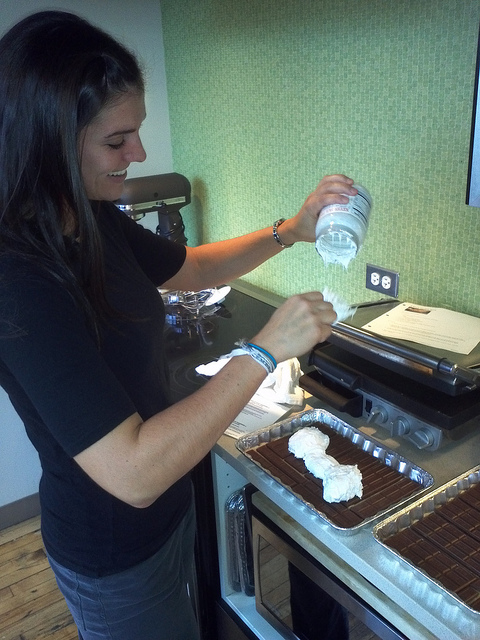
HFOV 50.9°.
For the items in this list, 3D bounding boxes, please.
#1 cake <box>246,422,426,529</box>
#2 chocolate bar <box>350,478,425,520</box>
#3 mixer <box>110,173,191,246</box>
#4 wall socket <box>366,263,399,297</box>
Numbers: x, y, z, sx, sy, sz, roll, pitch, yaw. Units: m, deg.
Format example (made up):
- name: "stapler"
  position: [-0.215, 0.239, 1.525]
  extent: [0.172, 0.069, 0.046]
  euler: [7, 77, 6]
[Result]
- name: "cake"
  position: [0.167, 0.270, 0.956]
  extent: [0.150, 0.030, 0.214]
  euler: [-10, 19, -30]
- name: "chocolate bar"
  position: [0.262, 0.310, 0.885]
  extent: [0.153, 0.011, 0.050]
  euler: [-13, 19, -31]
- name: "mixer"
  position: [-0.342, -0.394, 1.996]
  extent: [0.309, 0.346, 0.179]
  euler: [-21, 42, -33]
- name: "wall socket"
  position: [0.401, -0.115, 1.402]
  extent: [0.015, 0.061, 0.089]
  euler: [-14, 22, -25]
